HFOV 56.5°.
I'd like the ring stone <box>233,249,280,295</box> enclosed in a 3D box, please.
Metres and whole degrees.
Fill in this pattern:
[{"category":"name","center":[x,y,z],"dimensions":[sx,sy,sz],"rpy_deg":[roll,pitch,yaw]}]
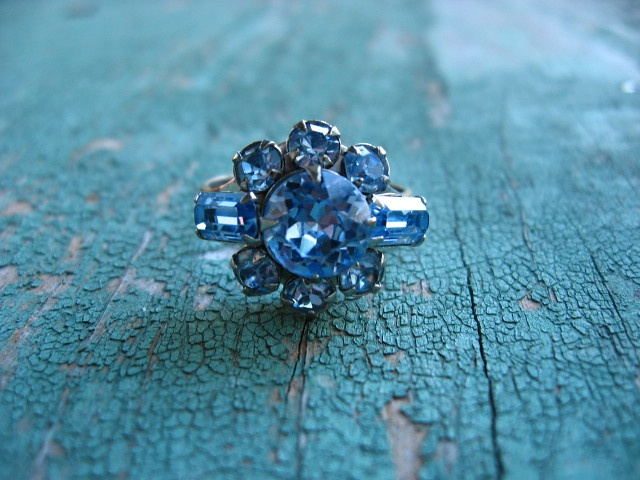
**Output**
[{"category":"ring stone","center":[-0.149,0.072,1.394],"dimensions":[0.094,0.042,0.112],"rpy_deg":[-4,97,0]}]
